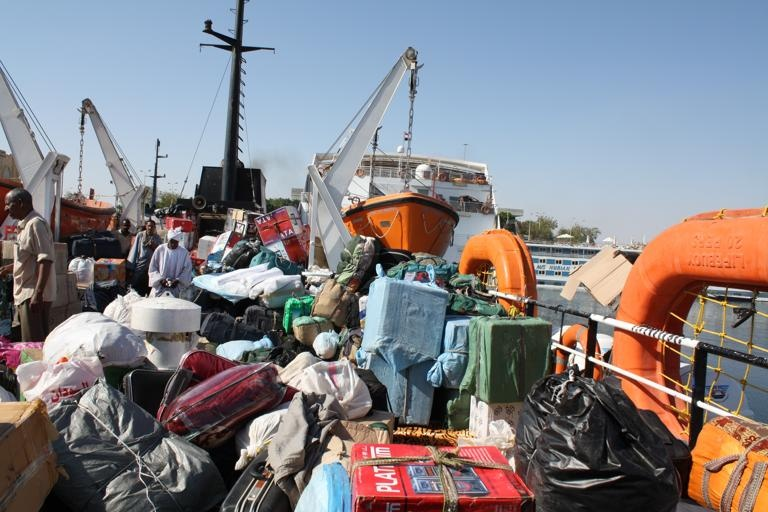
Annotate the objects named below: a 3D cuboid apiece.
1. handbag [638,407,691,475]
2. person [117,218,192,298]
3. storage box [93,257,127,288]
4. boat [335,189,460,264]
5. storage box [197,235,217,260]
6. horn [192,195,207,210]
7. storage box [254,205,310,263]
[{"bbox_3d":[2.169,1.386,4.299,0.479,0.539,0.384,-1,0,12],"label":"handbag"},{"bbox_3d":[-3.586,0.140,8.658,0.730,2.385,0.925,0,0,-19],"label":"person"},{"bbox_3d":[-4.649,0.260,9.216,0.570,0.596,0.433,6,4,-13],"label":"storage box"},{"bbox_3d":[0.452,-0.900,14.823,2.802,1.684,1.287,5,5,4],"label":"boat"},{"bbox_3d":[-4.677,-0.238,14.359,0.398,0.487,0.713,3,5,-17],"label":"storage box"},{"bbox_3d":[-6.118,-1.762,18.188,0.391,0.417,0.437,-20,0,-6],"label":"horn"},{"bbox_3d":[-2.515,-0.532,13.618,1.314,1.413,0.550,2,5,-22],"label":"storage box"}]
